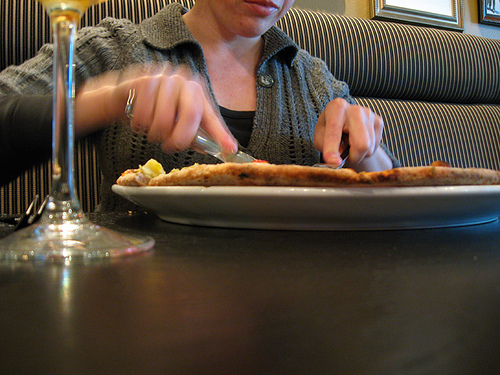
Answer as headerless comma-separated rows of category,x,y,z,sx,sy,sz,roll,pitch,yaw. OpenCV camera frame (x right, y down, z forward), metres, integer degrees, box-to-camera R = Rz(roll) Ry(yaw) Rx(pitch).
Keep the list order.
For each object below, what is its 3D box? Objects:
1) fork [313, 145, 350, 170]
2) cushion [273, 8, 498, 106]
fork,0.131,-0.048,0.716,0.024,0.017,0.115,5,28,35
cushion,0.484,-0.478,1.783,0.953,0.360,0.208,-2,17,-18
